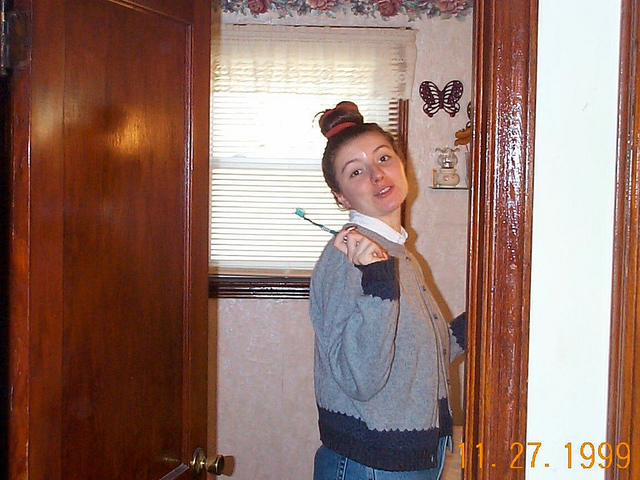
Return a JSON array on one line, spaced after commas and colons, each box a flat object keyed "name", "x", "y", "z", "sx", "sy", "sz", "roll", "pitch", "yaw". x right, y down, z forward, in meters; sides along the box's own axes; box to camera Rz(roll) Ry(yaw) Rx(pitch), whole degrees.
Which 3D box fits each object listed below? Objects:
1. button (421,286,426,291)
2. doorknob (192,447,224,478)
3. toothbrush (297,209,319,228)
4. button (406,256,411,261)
[{"name": "button", "x": 0.303, "y": 0.142, "z": 2.049, "sx": 0.007, "sy": 0.006, "sz": 0.016, "roll": 0, "pitch": 25, "yaw": 5}, {"name": "doorknob", "x": -0.289, "y": 0.582, "z": 1.838, "sx": 0.078, "sy": 0.081, "sz": 0.071, "roll": 1, "pitch": -6, "yaw": -6}, {"name": "toothbrush", "x": -0.039, "y": -0.080, "z": 2.447, "sx": 0.081, "sy": 0.031, "sz": 0.047, "roll": 39, "pitch": -22, "yaw": -7}, {"name": "button", "x": 0.260, "y": 0.055, "z": 2.066, "sx": 0.007, "sy": 0.014, "sz": 0.029, "roll": -2, "pitch": -6, "yaw": 22}]
